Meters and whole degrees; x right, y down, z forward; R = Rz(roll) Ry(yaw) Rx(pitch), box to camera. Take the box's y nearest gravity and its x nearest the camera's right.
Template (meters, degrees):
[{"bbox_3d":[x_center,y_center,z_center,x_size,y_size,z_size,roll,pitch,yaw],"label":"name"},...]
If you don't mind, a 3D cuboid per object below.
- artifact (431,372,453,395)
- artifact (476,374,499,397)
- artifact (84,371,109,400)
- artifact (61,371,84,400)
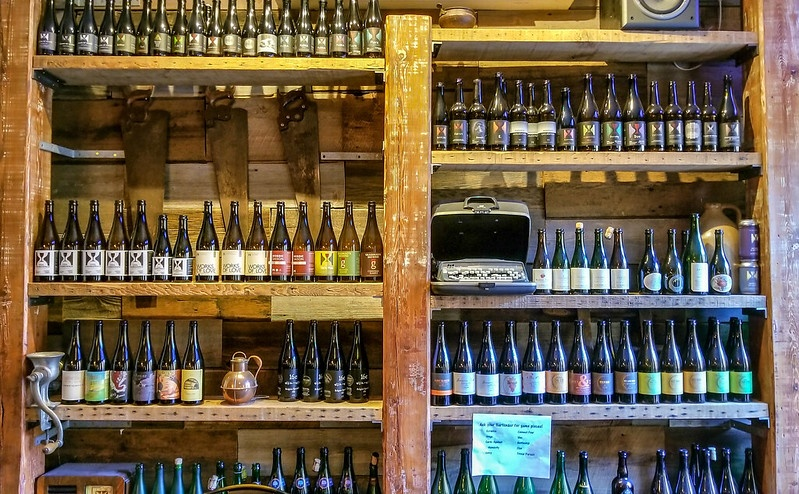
[{"bbox_3d":[0.208,0.673,6.216,0.102,0.093,0.101,-1,-1,-1],"label":"artifact"},{"bbox_3d":[0.428,0.677,6.166,0.110,0.077,0.106,2,-5,-10],"label":"artifact"},{"bbox_3d":[-1.477,0.683,6.226,0.134,0.143,0.132,3,-4,-37],"label":"artifact"},{"bbox_3d":[-1.596,0.678,6.159,0.131,0.140,0.128,-2,-8,16],"label":"artifact"}]
